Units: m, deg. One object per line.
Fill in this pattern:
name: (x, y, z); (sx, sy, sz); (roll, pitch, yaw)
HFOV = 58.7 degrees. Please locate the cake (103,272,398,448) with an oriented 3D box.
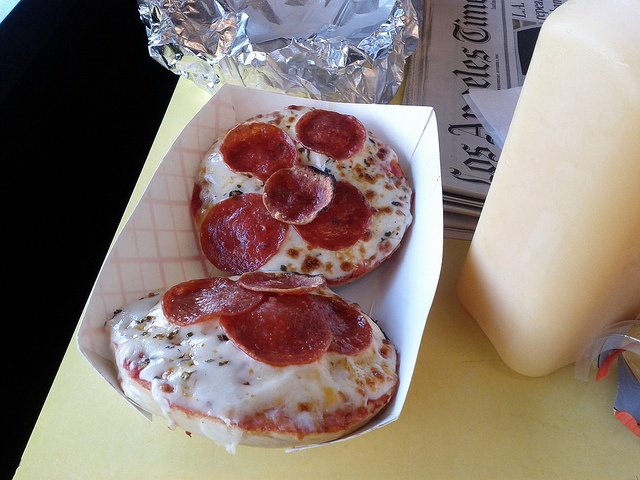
cake: (-0.079, 0.164, 0.746); (0.300, 0.098, 0.244); (5, 45, 2)
